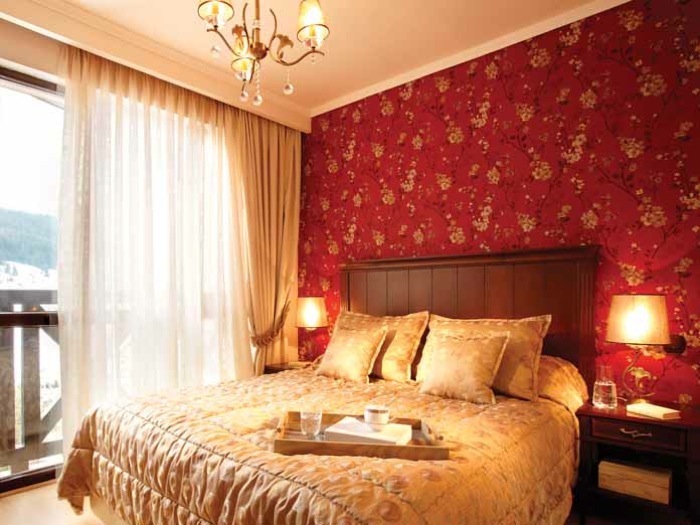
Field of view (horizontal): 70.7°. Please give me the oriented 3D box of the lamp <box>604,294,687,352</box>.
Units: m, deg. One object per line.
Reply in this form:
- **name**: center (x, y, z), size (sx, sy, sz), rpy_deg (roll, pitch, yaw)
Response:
- **lamp**: center (2.022, 0.399, 3.352), size (0.512, 0.387, 0.388), rpy_deg (-1, 1, 40)

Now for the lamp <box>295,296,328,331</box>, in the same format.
- **lamp**: center (-0.392, 0.514, 4.991), size (0.355, 0.386, 0.372), rpy_deg (1, 7, 16)

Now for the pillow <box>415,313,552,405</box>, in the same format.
- **pillow**: center (1.021, 0.620, 3.567), size (0.708, 0.502, 0.411), rpy_deg (6, 11, 31)

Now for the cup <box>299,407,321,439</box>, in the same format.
- **cup**: center (-0.209, 0.863, 2.630), size (0.117, 0.143, 0.119), rpy_deg (0, -7, 0)

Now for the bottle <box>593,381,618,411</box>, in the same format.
- **bottle**: center (1.668, 0.871, 3.233), size (0.156, 0.217, 0.167), rpy_deg (3, -6, 0)

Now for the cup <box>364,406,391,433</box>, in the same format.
- **cup**: center (0.136, 0.828, 2.619), size (0.102, 0.097, 0.121), rpy_deg (-5, -14, 24)
